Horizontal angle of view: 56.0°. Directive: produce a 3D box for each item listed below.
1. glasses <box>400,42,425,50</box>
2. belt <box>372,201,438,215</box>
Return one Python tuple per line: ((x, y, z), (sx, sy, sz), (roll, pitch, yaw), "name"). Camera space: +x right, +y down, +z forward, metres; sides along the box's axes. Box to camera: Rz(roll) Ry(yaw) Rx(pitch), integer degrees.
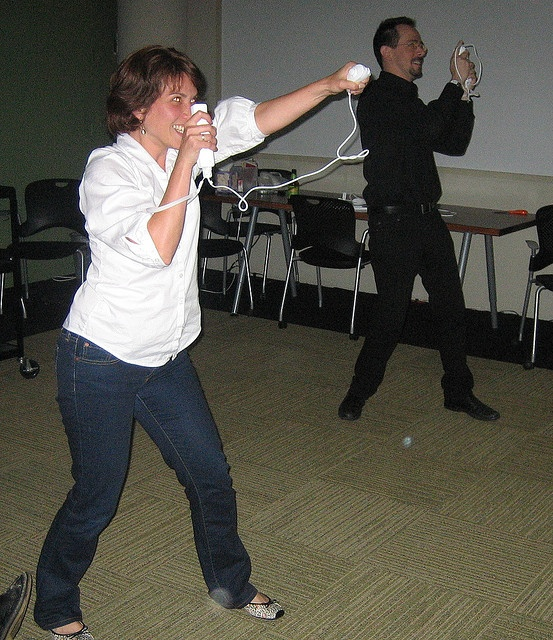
((0.667, -1.355, 2.565), (0.046, 0.013, 0.047), (-4, 11, -38), "glasses")
((0.650, -0.583, 2.702), (0.344, 0.063, 0.151), (4, 11, 14), "belt")
